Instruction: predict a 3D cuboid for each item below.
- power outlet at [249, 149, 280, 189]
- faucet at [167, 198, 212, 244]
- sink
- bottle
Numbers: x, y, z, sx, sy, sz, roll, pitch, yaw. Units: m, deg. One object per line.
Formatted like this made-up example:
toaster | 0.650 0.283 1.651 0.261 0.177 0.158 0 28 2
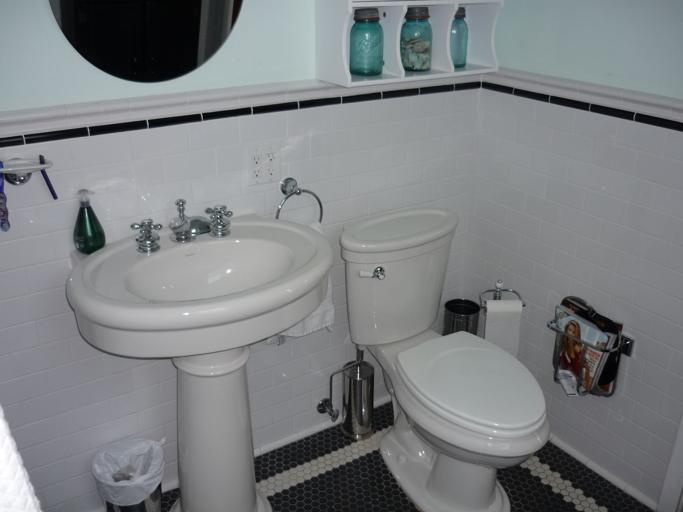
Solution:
power outlet | -0.294 -0.331 1.951 0.115 0.144 0.015 -16 34 -35
faucet | -0.534 -0.123 1.758 0.089 0.136 0.130 -2 9 -22
sink | -0.410 0.088 1.618 0.774 0.221 0.491 -12 24 -23
bottle | 0.237 -0.821 1.990 0.241 0.175 0.137 -12 27 -21
